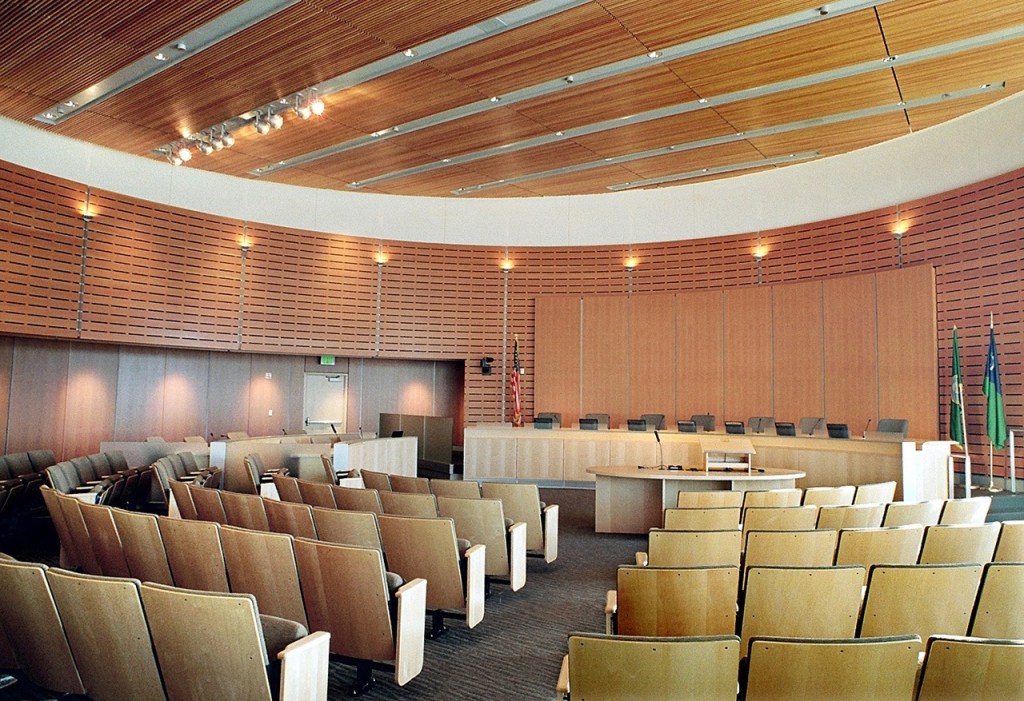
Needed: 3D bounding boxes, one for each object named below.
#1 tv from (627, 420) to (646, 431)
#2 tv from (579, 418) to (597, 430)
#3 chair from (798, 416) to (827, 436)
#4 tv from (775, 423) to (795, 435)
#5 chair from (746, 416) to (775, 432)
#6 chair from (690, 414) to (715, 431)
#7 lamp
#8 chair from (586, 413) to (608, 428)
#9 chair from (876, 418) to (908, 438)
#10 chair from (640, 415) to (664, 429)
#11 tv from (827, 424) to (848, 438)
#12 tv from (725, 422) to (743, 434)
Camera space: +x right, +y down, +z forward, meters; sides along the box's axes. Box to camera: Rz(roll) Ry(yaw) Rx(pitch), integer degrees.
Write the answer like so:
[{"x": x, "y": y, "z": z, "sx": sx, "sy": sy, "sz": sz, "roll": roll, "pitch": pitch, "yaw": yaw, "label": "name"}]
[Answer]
[{"x": 2.227, "y": 1.323, "z": 12.099, "sx": 0.337, "sy": 0.177, "sz": 0.148, "roll": 10, "pitch": 3, "yaw": 19, "label": "tv"}, {"x": 1.423, "y": 1.339, "z": 12.538, "sx": 0.281, "sy": 0.114, "sz": 0.223, "roll": 1, "pitch": -6, "yaw": 0, "label": "tv"}, {"x": 5.313, "y": 1.306, "z": 11.959, "sx": 0.629, "sy": 0.301, "sz": 0.436, "roll": -6, "pitch": -10, "yaw": 42, "label": "chair"}, {"x": 4.349, "y": 1.229, "z": 10.820, "sx": 0.305, "sy": 0.132, "sz": 0.233, "roll": -1, "pitch": -4, "yaw": -7, "label": "tv"}, {"x": 4.475, "y": 1.328, "z": 12.327, "sx": 0.389, "sy": 0.369, "sz": 0.420, "roll": -7, "pitch": -15, "yaw": 36, "label": "chair"}, {"x": 3.588, "y": 1.339, "z": 12.830, "sx": 0.441, "sy": 0.377, "sz": 0.412, "roll": -6, "pitch": -16, "yaw": 28, "label": "chair"}, {"x": -4.030, "y": -3.436, "z": 10.317, "sx": 2.392, "sy": 0.264, "sz": 0.260, "roll": -7, "pitch": -34, "yaw": 39, "label": "lamp"}, {"x": 1.691, "y": 1.353, "z": 13.355, "sx": 0.313, "sy": 0.287, "sz": 0.310, "roll": 0, "pitch": -15, "yaw": 5, "label": "chair"}, {"x": 5.713, "y": 1.160, "z": 10.270, "sx": 0.422, "sy": 0.376, "sz": 0.362, "roll": 16, "pitch": -18, "yaw": -42, "label": "chair"}, {"x": 2.843, "y": 1.379, "z": 13.465, "sx": 0.347, "sy": 0.253, "sz": 0.480, "roll": -4, "pitch": 14, "yaw": 11, "label": "chair"}, {"x": 4.789, "y": 1.181, "z": 10.059, "sx": 0.134, "sy": 0.125, "sz": 0.231, "roll": 5, "pitch": -9, "yaw": -36, "label": "tv"}, {"x": 3.607, "y": 1.244, "z": 11.046, "sx": 0.273, "sy": 0.114, "sz": 0.225, "roll": -1, "pitch": -5, "yaw": 10, "label": "tv"}]
